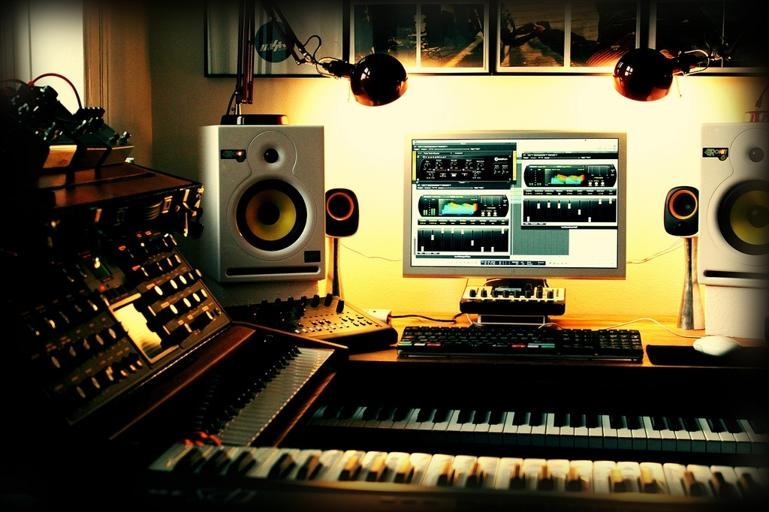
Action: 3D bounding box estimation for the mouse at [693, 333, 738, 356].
[{"bbox_3d":[0.829,0.220,1.440,0.091,0.039,0.113,2,10,-3],"label":"mouse"}]

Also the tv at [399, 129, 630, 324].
[{"bbox_3d":[0.404,-0.111,1.739,0.677,0.522,0.292,0,1,6],"label":"tv"}]

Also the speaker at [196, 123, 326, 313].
[{"bbox_3d":[-0.360,-0.122,1.681,0.373,0.523,0.146,1,10,-6],"label":"speaker"}]

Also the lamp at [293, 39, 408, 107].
[{"bbox_3d":[-0.128,-0.532,1.639,0.325,0.138,0.149,6,25,-26],"label":"lamp"}]

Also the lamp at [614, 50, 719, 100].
[{"bbox_3d":[0.848,-0.545,1.710,0.187,0.178,0.395,12,14,43],"label":"lamp"}]

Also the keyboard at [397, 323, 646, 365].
[{"bbox_3d":[0.352,0.223,1.494,0.622,0.069,0.180,3,10,3],"label":"keyboard"}]
